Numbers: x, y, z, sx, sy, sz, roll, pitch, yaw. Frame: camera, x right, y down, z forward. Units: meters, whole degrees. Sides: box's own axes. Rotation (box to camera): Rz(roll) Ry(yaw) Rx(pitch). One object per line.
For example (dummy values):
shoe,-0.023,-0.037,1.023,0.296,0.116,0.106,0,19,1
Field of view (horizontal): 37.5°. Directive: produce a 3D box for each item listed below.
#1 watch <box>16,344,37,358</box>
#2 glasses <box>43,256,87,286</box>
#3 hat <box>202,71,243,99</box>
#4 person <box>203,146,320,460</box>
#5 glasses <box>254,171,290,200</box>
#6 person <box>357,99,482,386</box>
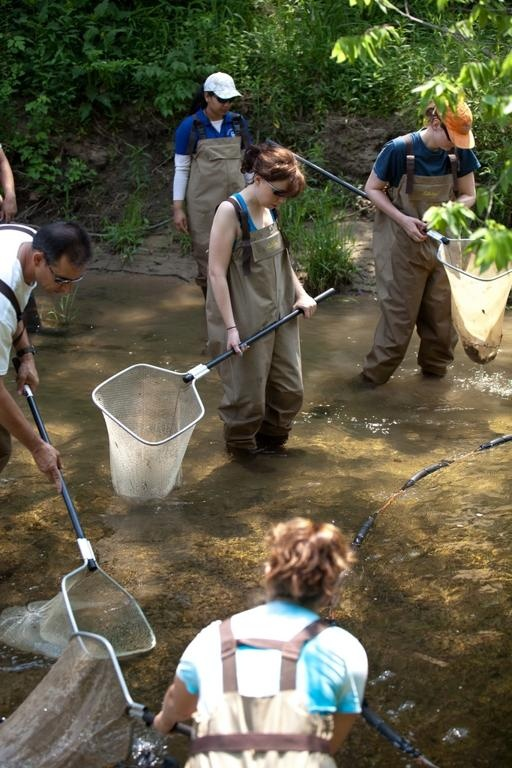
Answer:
watch,-1.004,-0.139,3.328,0.063,0.023,0.064,-24,-7,34
glasses,-0.681,-0.387,2.677,0.101,0.047,0.129,0,46,-48
hat,-0.235,-1.994,5.030,0.240,0.126,0.169,27,35,35
person,0.038,-0.361,3.843,0.574,1.644,0.471,-1,25,-13
glasses,0.068,-0.894,3.435,0.134,0.040,0.125,4,37,-35
person,1.061,-0.820,4.759,0.625,1.790,0.638,-13,30,-33
